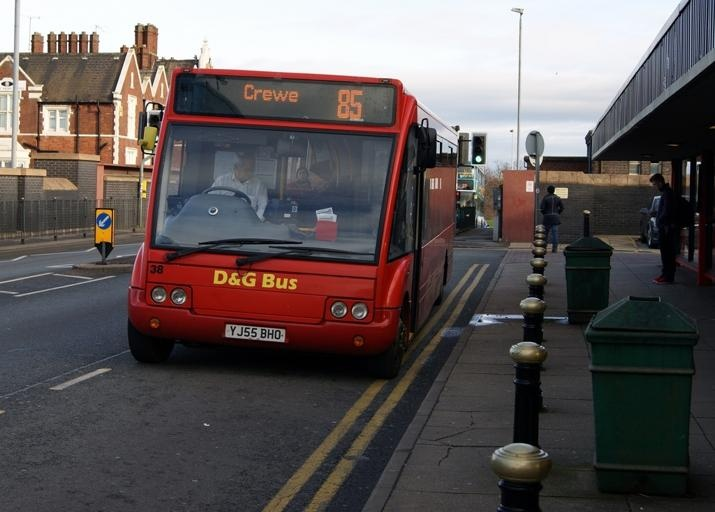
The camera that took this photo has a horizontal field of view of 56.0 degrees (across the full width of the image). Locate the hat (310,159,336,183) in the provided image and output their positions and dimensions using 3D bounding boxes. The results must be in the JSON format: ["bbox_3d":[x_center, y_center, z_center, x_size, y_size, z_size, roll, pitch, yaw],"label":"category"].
[{"bbox_3d":[-0.389,-1.026,8.068,0.240,0.277,0.070,1,-4,-6],"label":"hat"}]

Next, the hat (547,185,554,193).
[{"bbox_3d":[7.414,-2.549,25.716,0.228,0.300,1.327,1,5,14],"label":"hat"}]

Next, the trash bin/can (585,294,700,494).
[{"bbox_3d":[2.005,1.006,4.790,0.718,1.390,0.385,1,4,21],"label":"trash bin/can"}]

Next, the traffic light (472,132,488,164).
[{"bbox_3d":[4.447,-3.944,24.623,0.504,1.206,1.585,0,5,9],"label":"traffic light"}]

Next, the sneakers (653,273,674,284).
[{"bbox_3d":[7.725,0.570,17.062,0.516,0.277,0.202,4,2,-1],"label":"sneakers"}]
